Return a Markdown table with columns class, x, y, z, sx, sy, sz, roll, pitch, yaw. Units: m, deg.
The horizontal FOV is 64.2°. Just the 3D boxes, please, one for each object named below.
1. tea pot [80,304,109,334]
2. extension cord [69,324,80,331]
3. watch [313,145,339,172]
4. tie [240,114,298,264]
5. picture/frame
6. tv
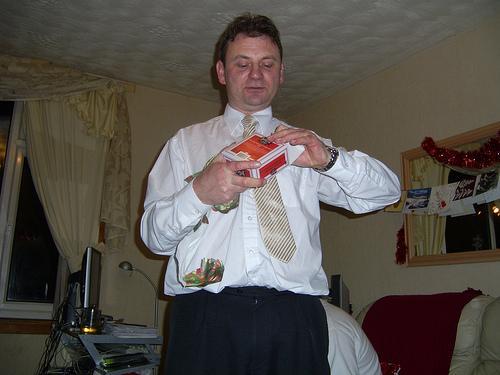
| class | x | y | z | sx | sy | sz | roll | pitch | yaw |
| --- | --- | --- | --- | --- | --- | --- | --- | --- | --- |
| tea pot | -1.085 | 0.975 | 2.852 | 0.110 | 0.169 | 0.181 | -2 | -16 | 7 |
| extension cord | -1.262 | 1.011 | 2.869 | 0.060 | 0.016 | 0.058 | 1 | 15 | -3 |
| watch | 0.322 | -0.115 | 1.684 | 0.040 | 0.116 | 0.101 | 19 | -32 | -32 |
| tie | 0.069 | 0.041 | 1.559 | 0.128 | 0.688 | 0.052 | -20 | 31 | -7 |
| picture/frame | 1.737 | 0.088 | 3.431 | 0.051 | 1.035 | 1.020 | 12 | -27 | -31 |
| tv | -1.365 | 0.765 | 3.287 | 0.246 | 0.501 | 0.978 | 6 | -14 | -23 |
